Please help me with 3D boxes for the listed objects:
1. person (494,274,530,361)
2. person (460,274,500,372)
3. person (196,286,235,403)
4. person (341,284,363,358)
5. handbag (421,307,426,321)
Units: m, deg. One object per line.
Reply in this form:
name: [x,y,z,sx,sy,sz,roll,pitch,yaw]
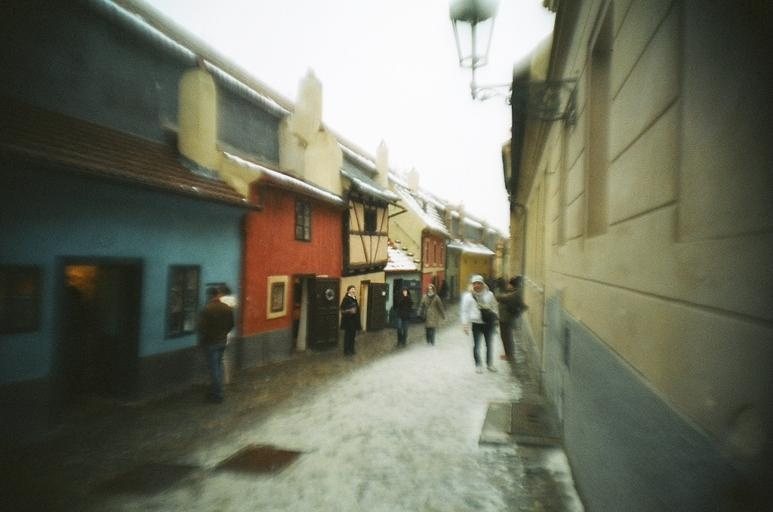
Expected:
person: [2.663,1.260,13.409,0.709,2.101,0.615,7,22,18]
person: [1.895,1.371,12.489,0.713,2.027,1.213,0,12,9]
person: [-2.896,1.515,10.457,0.349,1.983,0.576,9,16,43]
person: [-0.891,1.600,15.108,0.439,1.835,1.235,-3,12,-3]
handbag: [0.924,1.431,15.415,0.153,0.387,0.446,-1,12,3]
